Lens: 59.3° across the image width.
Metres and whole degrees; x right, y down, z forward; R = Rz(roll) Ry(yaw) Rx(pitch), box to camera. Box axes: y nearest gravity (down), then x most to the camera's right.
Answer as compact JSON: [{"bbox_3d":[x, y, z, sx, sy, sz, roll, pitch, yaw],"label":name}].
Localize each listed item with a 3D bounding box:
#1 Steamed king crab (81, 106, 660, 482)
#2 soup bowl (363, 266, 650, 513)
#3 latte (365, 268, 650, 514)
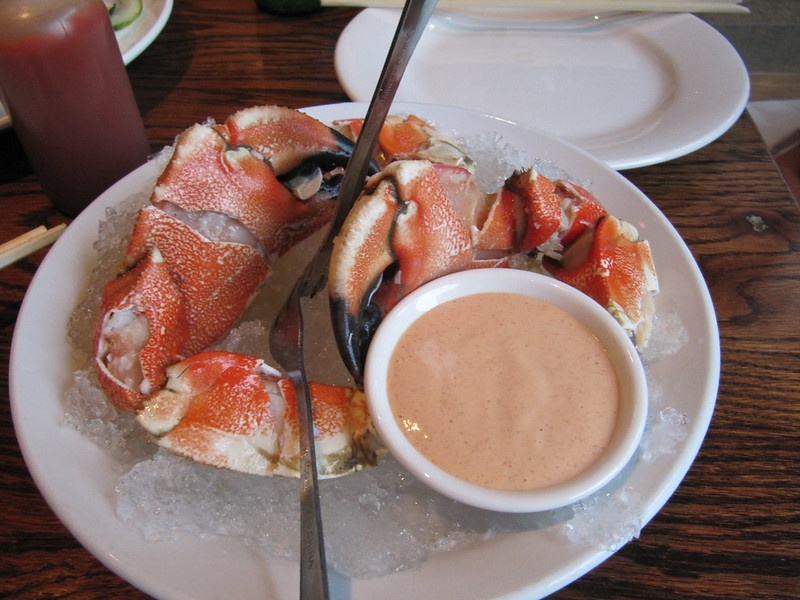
[{"bbox_3d":[0.017,-0.058,1.294,0.929,0.543,0.843,0,29,-1],"label":"Steamed king crab"},{"bbox_3d":[0.155,0.137,1.029,0.375,0.338,0.094,0,-28,0],"label":"soup bowl"},{"bbox_3d":[0.157,0.090,1.176,0.664,0.282,0.464,1,24,-4],"label":"latte"}]
